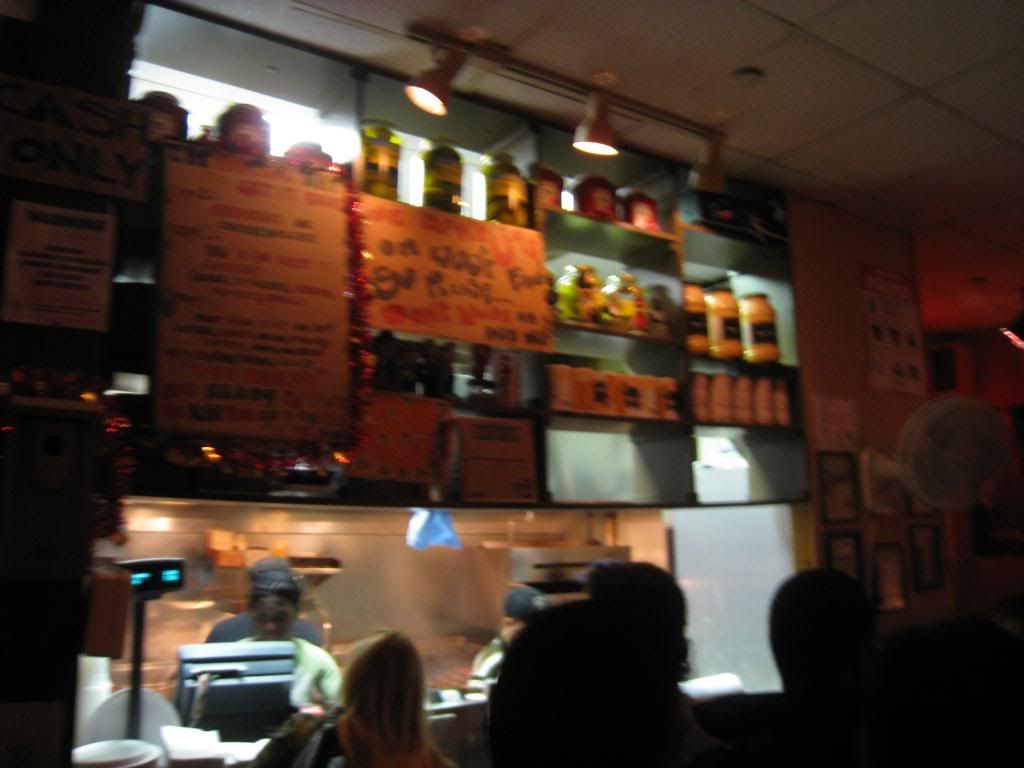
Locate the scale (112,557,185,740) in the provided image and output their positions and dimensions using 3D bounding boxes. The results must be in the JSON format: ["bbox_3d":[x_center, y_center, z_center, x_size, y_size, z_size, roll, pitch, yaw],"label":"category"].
[{"bbox_3d":[-1.039,0.750,2.438,0.149,0.497,0.155,2,-13,-8],"label":"scale"}]

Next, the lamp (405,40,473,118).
[{"bbox_3d":[-0.252,-1.040,2.899,0.177,0.268,0.167,23,-17,18],"label":"lamp"}]

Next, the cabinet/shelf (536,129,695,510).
[{"bbox_3d":[0.363,-0.223,3.426,0.774,1.404,0.461,12,-18,-43],"label":"cabinet/shelf"}]

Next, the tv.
[{"bbox_3d":[-0.828,0.882,2.585,0.430,0.227,0.276,5,-24,-18],"label":"tv"}]

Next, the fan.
[{"bbox_3d":[1.781,0.322,3.629,0.466,0.235,0.586,12,-19,-18],"label":"fan"}]
